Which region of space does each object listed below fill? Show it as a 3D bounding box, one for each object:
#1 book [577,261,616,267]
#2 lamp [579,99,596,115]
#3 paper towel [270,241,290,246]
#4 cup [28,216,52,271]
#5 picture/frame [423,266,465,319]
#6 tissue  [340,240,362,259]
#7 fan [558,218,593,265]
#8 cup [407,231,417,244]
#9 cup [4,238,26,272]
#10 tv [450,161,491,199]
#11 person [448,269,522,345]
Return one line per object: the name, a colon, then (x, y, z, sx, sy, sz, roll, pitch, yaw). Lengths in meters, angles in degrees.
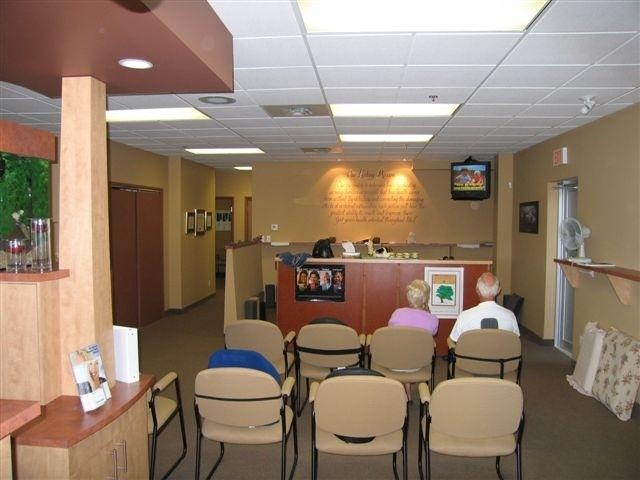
book: (3.294, 0.290, 5.884, 0.298, 0.049, 0.437, -1, 2, 1)
lamp: (2.928, -1.473, 5.425, 0.117, 0.148, 0.361, -2, 15, 21)
paper towel: (-0.823, 0.093, 10.413, 0.411, 0.127, 0.123, -1, 2, 2)
cup: (-1.944, 0.033, 3.457, 0.125, 0.368, 0.230, -3, 3, -31)
picture/frame: (1.644, 0.681, 6.441, 0.660, 0.960, 0.037, 0, 0, 3)
tissue : (0.477, 0.130, 7.130, 0.217, 0.314, 0.239, -1, 0, -20)
fan: (3.290, 0.050, 6.270, 0.359, 0.679, 0.394, -8, 17, -2)
cup: (1.889, -0.034, 10.073, 0.176, 0.227, 0.307, 0, 2, 21)
cup: (-2.049, 0.102, 3.346, 0.125, 0.226, 0.111, -3, 3, -40)
tv: (2.675, -1.051, 8.719, 0.632, 0.645, 0.354, 0, 0, 23)
person: (1.701, 0.734, 4.968, 0.767, 0.890, 0.517, -2, 21, 10)
